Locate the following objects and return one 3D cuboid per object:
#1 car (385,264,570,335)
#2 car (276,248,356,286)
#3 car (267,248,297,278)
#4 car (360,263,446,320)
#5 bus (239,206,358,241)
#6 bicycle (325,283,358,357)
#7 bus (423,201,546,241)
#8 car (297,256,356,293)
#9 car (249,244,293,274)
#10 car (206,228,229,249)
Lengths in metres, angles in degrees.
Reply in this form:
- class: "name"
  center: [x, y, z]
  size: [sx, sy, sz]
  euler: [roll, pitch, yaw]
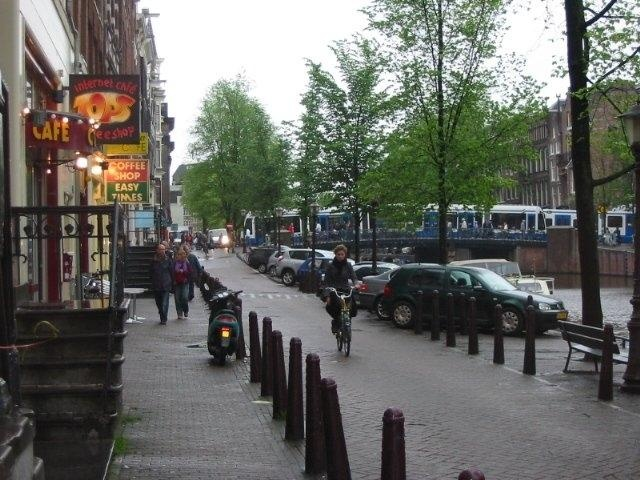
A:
- class: "car"
  center: [3.746, 1.541, 19.801]
  size: [4.330, 1.797, 2.290]
  euler: [-1, 0, 8]
- class: "car"
  center: [-0.950, 1.309, 37.270]
  size: [3.292, 1.598, 1.684]
  euler: [-2, -2, 22]
- class: "car"
  center: [-2.220, 1.234, 43.154]
  size: [1.699, 1.023, 1.086]
  euler: [-3, 3, 1]
- class: "car"
  center: [1.627, 1.541, 22.917]
  size: [2.700, 1.385, 1.331]
  euler: [-1, 2, 3]
- class: "bus"
  center: [-3.116, -1.204, 66.668]
  size: [11.004, 4.180, 3.683]
  euler: [0, 0, 37]
- class: "bicycle"
  center: [0.376, 1.581, 15.286]
  size: [0.543, 0.969, 1.133]
  euler: [0, 0, 3]
- class: "bus"
  center: [11.582, -1.092, 55.091]
  size: [11.011, 3.652, 3.008]
  euler: [-1, 4, -15]
- class: "car"
  center: [0.070, 1.106, 24.463]
  size: [2.247, 1.338, 1.379]
  euler: [-3, 1, 3]
- class: "car"
  center: [-3.136, 1.165, 46.484]
  size: [2.268, 1.107, 1.451]
  euler: [-3, 3, -1]
- class: "car"
  center: [-10.993, -0.293, 83.988]
  size: [2.070, 2.222, 4.069]
  euler: [1, -4, -13]
